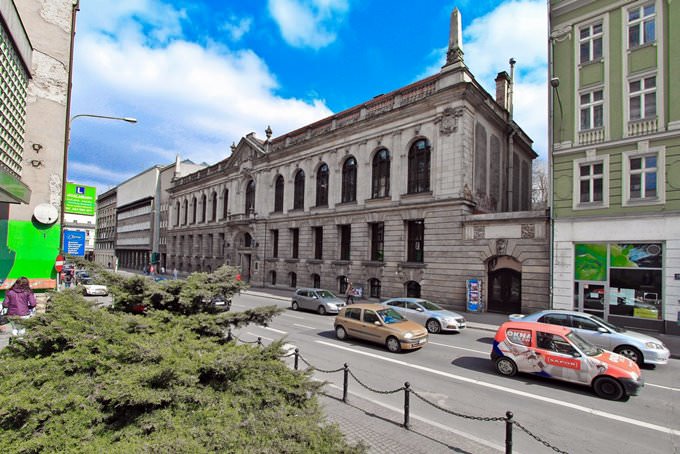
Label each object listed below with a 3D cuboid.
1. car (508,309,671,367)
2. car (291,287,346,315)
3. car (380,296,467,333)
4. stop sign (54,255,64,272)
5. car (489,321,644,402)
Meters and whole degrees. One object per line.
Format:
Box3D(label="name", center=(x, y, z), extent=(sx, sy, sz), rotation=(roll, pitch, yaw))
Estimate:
Box3D(label="car", center=(11.338, 4.629, 22.357), extent=(6.953, 2.338, 3.040), rotation=(-4, -8, 31))
Box3D(label="car", center=(-1.474, 5.043, 31.862), extent=(3.089, 1.124, 1.599), rotation=(-9, -11, 42))
Box3D(label="car", center=(4.798, 4.880, 26.478), extent=(4.094, 1.373, 1.853), rotation=(-1, -5, 34))
Box3D(label="stop sign", center=(-15.047, 1.957, 24.990), extent=(0.326, 1.110, 1.020), rotation=(-6, 16, -29))
Box3D(label="car", center=(9.429, 5.471, 19.706), extent=(5.453, 2.492, 2.637), rotation=(-5, -6, 32))
